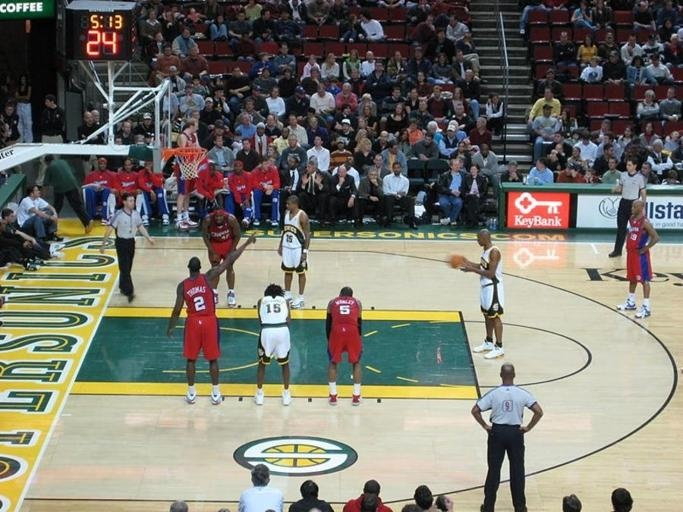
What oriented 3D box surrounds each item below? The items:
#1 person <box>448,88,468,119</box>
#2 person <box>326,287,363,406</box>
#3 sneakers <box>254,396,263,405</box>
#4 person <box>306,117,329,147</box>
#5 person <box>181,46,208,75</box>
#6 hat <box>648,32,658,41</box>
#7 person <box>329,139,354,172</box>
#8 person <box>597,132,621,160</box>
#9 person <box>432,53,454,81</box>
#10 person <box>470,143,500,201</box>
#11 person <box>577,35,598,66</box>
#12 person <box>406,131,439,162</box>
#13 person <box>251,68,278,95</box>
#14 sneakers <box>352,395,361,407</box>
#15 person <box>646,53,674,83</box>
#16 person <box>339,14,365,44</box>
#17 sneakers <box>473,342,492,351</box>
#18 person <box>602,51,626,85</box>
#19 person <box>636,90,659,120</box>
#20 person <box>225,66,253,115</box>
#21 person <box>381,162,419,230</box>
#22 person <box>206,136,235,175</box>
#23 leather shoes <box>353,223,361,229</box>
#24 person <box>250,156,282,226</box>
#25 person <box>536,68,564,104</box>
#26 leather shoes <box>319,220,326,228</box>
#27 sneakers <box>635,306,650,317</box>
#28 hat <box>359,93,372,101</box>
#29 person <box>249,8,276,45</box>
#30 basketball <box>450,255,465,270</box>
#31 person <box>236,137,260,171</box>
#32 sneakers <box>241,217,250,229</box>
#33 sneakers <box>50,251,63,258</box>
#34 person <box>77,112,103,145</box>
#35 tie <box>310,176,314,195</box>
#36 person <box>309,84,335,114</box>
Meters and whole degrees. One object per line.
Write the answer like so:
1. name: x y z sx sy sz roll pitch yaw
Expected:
1. person: 3.154 -4.124 23.550 0.671 0.973 0.645 -3 24 7
2. person: 0.042 1.358 13.494 0.528 1.819 0.843 -1 7 -1
3. sneakers: -1.271 2.207 13.428 0.087 0.141 0.050 -1 -12 -8
4. person: -0.648 -3.182 22.497 0.705 0.885 0.529 -4 22 2
5. person: -4.200 -5.412 24.397 0.774 0.767 0.818 2 8 20
6. hat: 9.455 -6.600 26.318 0.302 0.226 0.306 -1 8 0
7. person: -0.026 -2.506 21.997 0.618 0.949 0.568 1 3 25
8. person: 6.888 -2.803 22.332 0.677 0.911 0.602 2 6 31
9. person: 2.837 -5.324 24.846 0.632 0.880 0.944 2 8 18
10. person: 3.685 -2.100 22.014 0.764 1.358 0.838 7 21 36
11. person: 7.318 -6.061 25.826 0.642 0.901 0.642 1 4 3
12. person: 2.113 -2.777 22.446 0.945 0.934 0.650 3 17 -3
13. person: -2.112 -4.711 23.766 0.633 0.643 0.873 -1 44 -10
14. sneakers: 0.234 2.212 13.438 0.084 0.130 0.188 2 12 7
15. person: 9.277 -5.409 25.300 0.831 0.851 0.742 0 8 8
16. person: 0.325 -6.764 26.258 0.592 0.766 0.977 2 11 1
17. sneakers: 2.467 1.552 15.115 0.367 0.173 0.128 -3 10 6
18. person: 7.975 -5.447 25.247 0.836 0.907 0.508 -5 8 -29
19. person: 8.498 -4.167 24.050 0.612 0.817 0.959 2 8 18
20. person: -2.826 -4.462 24.007 0.607 1.390 0.778 -8 14 -12
21. person: 1.402 -1.479 21.357 0.798 1.578 0.537 0 7 3
22. person: -3.038 -2.399 21.767 0.594 1.092 0.624 -6 7 -6
23. leather shoes: 0.399 -0.747 21.447 0.158 0.162 0.294 1 6 1
24. person: -1.833 -1.541 21.220 0.709 1.683 0.838 -1 7 -5
25. person: 6.025 -4.816 24.690 0.898 1.422 0.825 3 16 12
26. leather shoes: -0.461 -0.801 21.393 0.154 0.271 0.156 6 53 1
27. sneakers: 5.718 1.053 16.453 0.133 0.178 0.385 2 5 39
28. hat: 0.658 -4.285 23.496 0.338 0.170 0.490 3 15 0
29. person: -2.317 -6.768 26.111 0.674 1.121 0.728 18 27 29
30. basketball: 1.916 0.090 14.247 0.244 0.184 0.247 -2 5 -8
31. person: -2.338 -2.388 21.416 0.589 0.908 0.605 -2 -3 -12
32. sneakers: -2.329 -0.779 21.132 0.132 0.145 0.310 29 -7 6
33. sneakers: -6.226 -0.040 19.057 0.228 0.112 0.336 -1 8 0
34. person: -6.429 -3.289 22.235 0.580 0.816 1.834 -3 8 -16
35. tie: -0.724 -1.689 21.105 0.113 0.421 0.064 -2 7 -7
36. person: -0.520 -4.265 23.870 0.835 1.198 0.756 -2 14 -5
